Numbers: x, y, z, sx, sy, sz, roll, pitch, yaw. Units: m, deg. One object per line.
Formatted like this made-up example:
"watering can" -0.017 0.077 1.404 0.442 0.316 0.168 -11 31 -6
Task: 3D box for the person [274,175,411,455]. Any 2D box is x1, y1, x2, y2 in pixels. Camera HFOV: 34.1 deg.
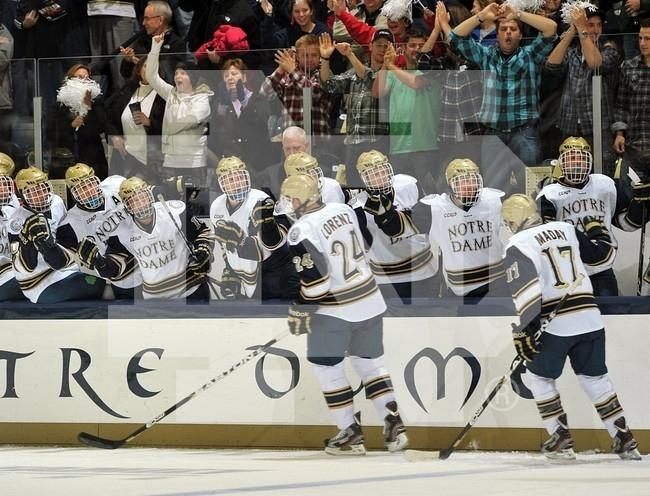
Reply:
"person" 0.123 0.450 7.269 0.744 1.935 0.444 -4 6 4

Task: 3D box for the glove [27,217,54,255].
"glove" -2.126 -0.099 7.943 0.162 0.290 0.107 -14 2 6

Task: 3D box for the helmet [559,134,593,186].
"helmet" 1.832 -0.638 7.857 0.233 0.343 0.317 0 -28 10

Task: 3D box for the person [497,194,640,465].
"person" 1.688 0.517 7.348 0.814 1.816 0.658 -4 6 7

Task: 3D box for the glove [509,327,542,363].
"glove" 1.370 0.644 7.113 0.154 0.236 0.088 3 -1 41

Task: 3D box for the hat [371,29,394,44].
"hat" 0.454 -1.641 8.302 0.134 0.108 0.228 1 -5 0

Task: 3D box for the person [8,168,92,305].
"person" -2.089 -0.054 8.065 0.485 0.944 0.572 -12 20 26

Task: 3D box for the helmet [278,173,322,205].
"helmet" -0.166 -0.417 7.423 0.222 0.192 0.173 -22 11 32

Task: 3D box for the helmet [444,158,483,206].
"helmet" 1.001 -0.483 7.785 0.234 0.326 0.324 -1 17 -10

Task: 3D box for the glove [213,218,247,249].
"glove" -0.698 -0.097 7.776 0.216 0.177 0.102 24 -23 -8

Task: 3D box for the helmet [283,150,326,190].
"helmet" -0.154 -0.585 7.744 0.272 0.282 0.215 3 26 13

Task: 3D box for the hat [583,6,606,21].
"hat" 2.073 -1.783 8.119 0.054 0.103 0.279 0 8 41

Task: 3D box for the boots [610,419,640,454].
"boots" 2.019 1.243 7.132 0.094 0.221 0.306 -10 14 1

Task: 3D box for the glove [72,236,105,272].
"glove" -1.755 0.089 7.974 0.201 0.293 0.120 21 25 29

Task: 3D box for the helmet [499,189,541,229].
"helmet" 1.365 -0.262 7.383 0.199 0.245 0.270 -13 40 -27

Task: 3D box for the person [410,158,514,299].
"person" 1.018 -0.098 7.752 0.707 0.897 0.285 -16 -7 -10

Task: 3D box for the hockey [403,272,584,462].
"hockey" 1.208 0.889 7.405 1.349 0.185 0.304 -51 13 0

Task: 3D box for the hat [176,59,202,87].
"hat" -1.056 -1.373 8.270 0.152 0.209 0.174 -23 24 -11

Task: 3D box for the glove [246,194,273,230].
"glove" -0.465 -0.266 7.852 0.192 0.213 0.295 -5 6 -4

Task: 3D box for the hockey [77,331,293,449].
"hockey" -0.941 1.036 7.665 1.230 0.103 0.229 -34 46 5
